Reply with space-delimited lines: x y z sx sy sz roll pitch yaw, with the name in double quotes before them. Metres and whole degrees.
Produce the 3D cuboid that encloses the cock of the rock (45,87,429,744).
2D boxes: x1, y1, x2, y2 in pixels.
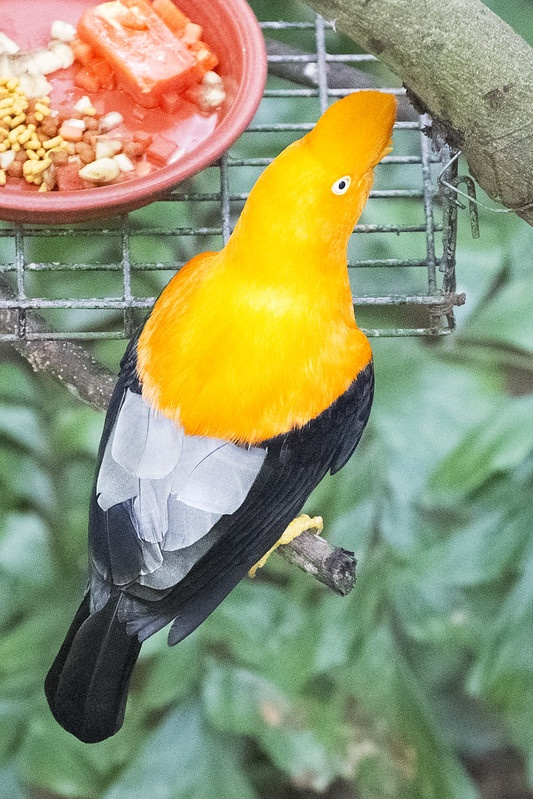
"cock of the rock" -0.048 -0.054 1.440 0.436 0.781 0.595 26 43 6
